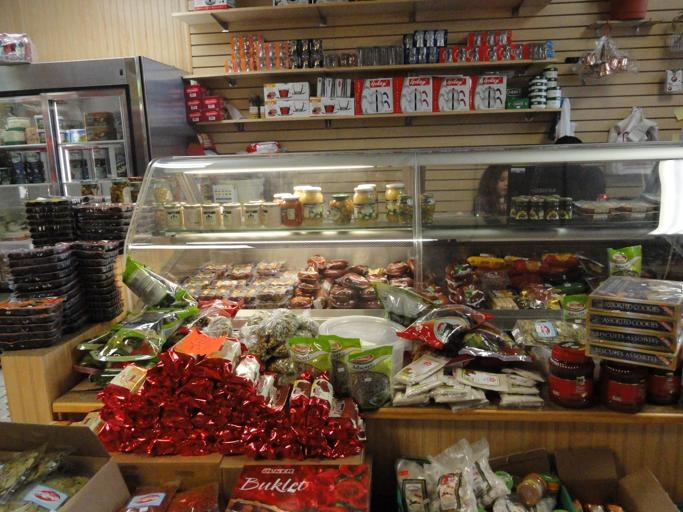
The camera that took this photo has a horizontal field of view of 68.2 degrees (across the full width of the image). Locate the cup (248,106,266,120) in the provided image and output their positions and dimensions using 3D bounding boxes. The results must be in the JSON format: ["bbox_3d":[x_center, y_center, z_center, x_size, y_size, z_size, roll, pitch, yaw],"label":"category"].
[{"bbox_3d":[-0.833,-1.403,4.940,0.196,0.073,0.152,0,7,-3],"label":"cup"}]

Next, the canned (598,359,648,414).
[{"bbox_3d":[1.004,0.463,1.799,0.143,0.186,0.067,2,18,17],"label":"canned"}]

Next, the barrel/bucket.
[{"bbox_3d":[0.081,0.349,2.037,0.347,0.084,0.233,0,4,-20],"label":"barrel/bucket"}]

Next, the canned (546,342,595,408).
[{"bbox_3d":[0.839,0.436,1.837,0.121,0.224,0.126,-16,21,-34],"label":"canned"}]
